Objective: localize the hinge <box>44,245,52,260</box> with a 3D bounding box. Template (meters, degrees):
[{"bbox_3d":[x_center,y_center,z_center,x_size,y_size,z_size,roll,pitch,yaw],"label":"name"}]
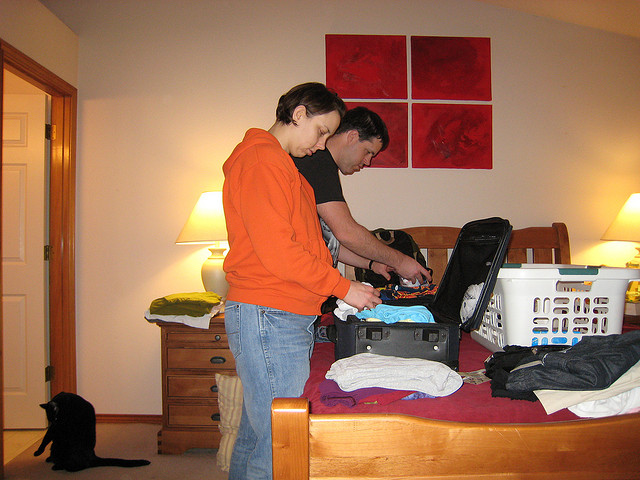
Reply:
[{"bbox_3d":[-1.959,0.087,3.837,0.049,0.104,0.026,1,-1,-28],"label":"hinge"}]

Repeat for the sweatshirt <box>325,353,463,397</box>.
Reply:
[{"bbox_3d":[0.327,0.577,2.320,0.592,0.062,0.358,4,13,-2],"label":"sweatshirt"}]

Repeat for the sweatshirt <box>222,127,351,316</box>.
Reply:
[{"bbox_3d":[-0.221,-0.055,2.536,0.504,0.865,0.548,1,7,-15],"label":"sweatshirt"}]

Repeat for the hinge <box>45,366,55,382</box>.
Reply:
[{"bbox_3d":[-1.948,0.962,3.839,0.061,0.106,0.028,1,-1,-22],"label":"hinge"}]

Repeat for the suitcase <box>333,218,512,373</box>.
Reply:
[{"bbox_3d":[0.483,0.267,2.737,0.848,0.706,0.612,1,2,-9],"label":"suitcase"}]

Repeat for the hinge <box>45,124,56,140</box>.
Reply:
[{"bbox_3d":[-1.947,-0.780,3.846,0.070,0.103,0.035,1,-1,-22],"label":"hinge"}]

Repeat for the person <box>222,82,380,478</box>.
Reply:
[{"bbox_3d":[-0.128,0.192,2.421,0.621,1.863,0.458,1,-1,-11],"label":"person"}]

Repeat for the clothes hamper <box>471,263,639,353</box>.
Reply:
[{"bbox_3d":[1.176,0.303,2.722,0.572,0.558,0.552,-1,-3,0],"label":"clothes hamper"}]

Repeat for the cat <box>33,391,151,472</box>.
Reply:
[{"bbox_3d":[-1.393,1.164,3.466,0.632,0.472,0.515,4,-1,38],"label":"cat"}]

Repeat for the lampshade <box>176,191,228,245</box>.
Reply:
[{"bbox_3d":[-0.784,-0.157,3.677,0.350,0.403,0.362,2,6,-10],"label":"lampshade"}]
